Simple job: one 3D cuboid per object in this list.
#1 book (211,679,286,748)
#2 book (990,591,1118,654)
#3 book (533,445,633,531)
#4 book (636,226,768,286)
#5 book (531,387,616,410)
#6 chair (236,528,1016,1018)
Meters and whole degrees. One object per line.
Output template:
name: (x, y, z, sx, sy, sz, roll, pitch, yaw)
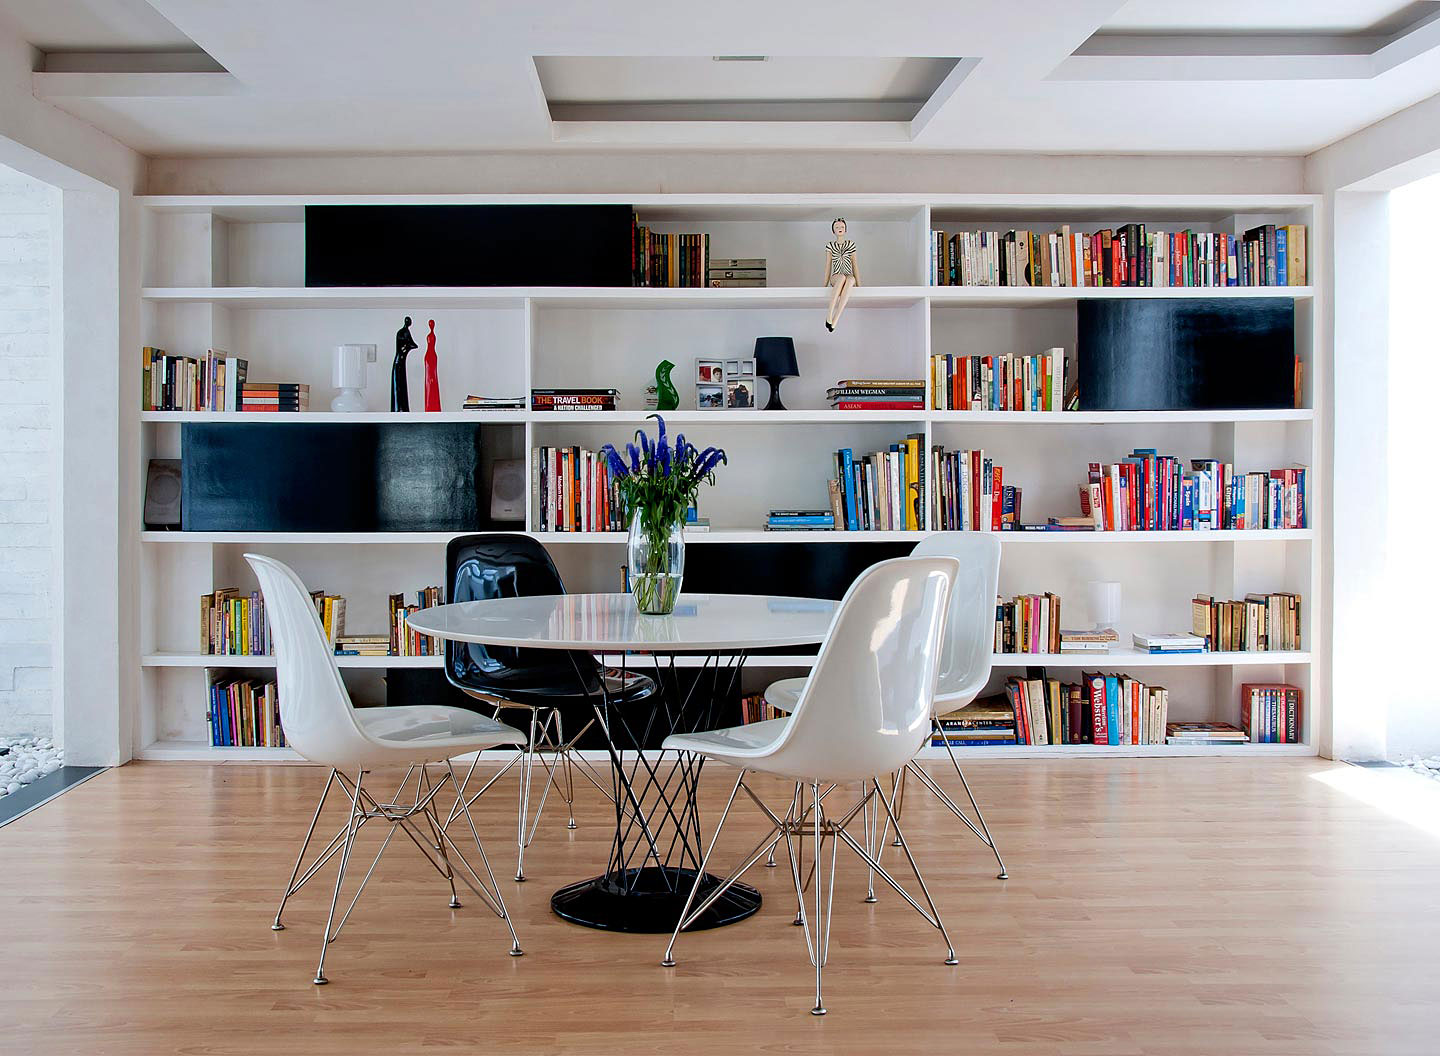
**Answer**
book: (-2.195, 0.865, 6.926, 0.297, 0.484, 0.498, -3, -5, -8)
book: (1.480, 0.465, 6.877, 0.457, 0.258, 0.310, 0, -5, -4)
book: (-0.634, -0.156, 6.886, 0.366, 0.499, 0.504, -1, -2, 6)
book: (-0.086, -1.249, 6.749, 0.596, 0.260, 0.144, -1, 13, -4)
book: (-0.664, -0.577, 6.655, 0.378, 0.083, 0.103, -2, 13, -8)
chair: (-0.199, 0.783, 5.115, 2.379, 1.343, 1.319, -1, 0, 9)
